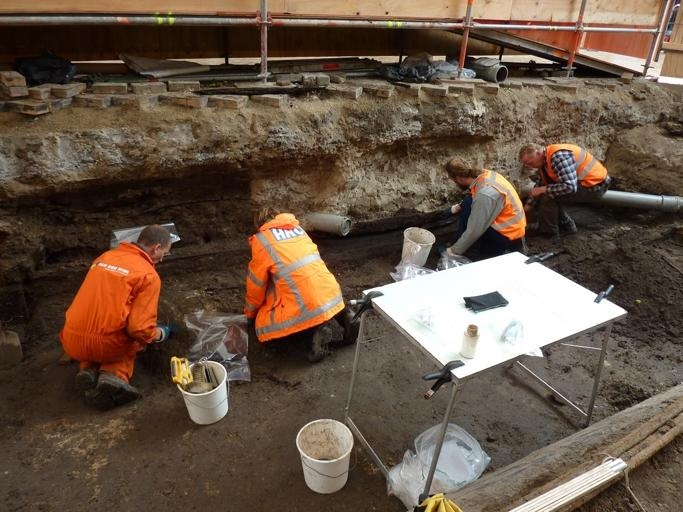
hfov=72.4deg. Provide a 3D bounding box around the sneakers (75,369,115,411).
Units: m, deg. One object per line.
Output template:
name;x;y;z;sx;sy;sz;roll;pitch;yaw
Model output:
sneakers;-1.817;0.990;3.414;0.136;0.329;0.157;-30;1;0

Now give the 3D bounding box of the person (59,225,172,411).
person;-1.631;0.472;3.501;0.903;1.208;0.652;-23;42;-38

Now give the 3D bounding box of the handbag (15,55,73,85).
handbag;-2.766;-1.727;4.424;0.409;0.150;0.482;15;25;24

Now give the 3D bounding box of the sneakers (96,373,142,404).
sneakers;-1.669;0.993;3.460;0.203;0.341;0.097;10;73;19

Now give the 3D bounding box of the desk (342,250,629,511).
desk;1.016;1.102;4.172;3.005;1.530;1.560;-11;31;-23

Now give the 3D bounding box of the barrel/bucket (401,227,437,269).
barrel/bucket;0.778;-0.104;4.970;0.477;0.402;0.413;5;34;-5

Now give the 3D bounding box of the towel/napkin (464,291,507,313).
towel/napkin;1.032;0.334;3.314;0.228;0.037;0.140;-7;27;-14

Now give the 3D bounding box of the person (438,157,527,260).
person;1.465;-0.474;4.980;0.933;1.059;0.803;16;47;33

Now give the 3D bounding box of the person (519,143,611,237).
person;2.551;-0.775;5.456;0.971;1.080;0.735;-22;41;-39

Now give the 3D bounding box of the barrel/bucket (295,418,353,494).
barrel/bucket;-0.139;1.346;3.199;0.545;0.310;0.469;-4;18;-13
